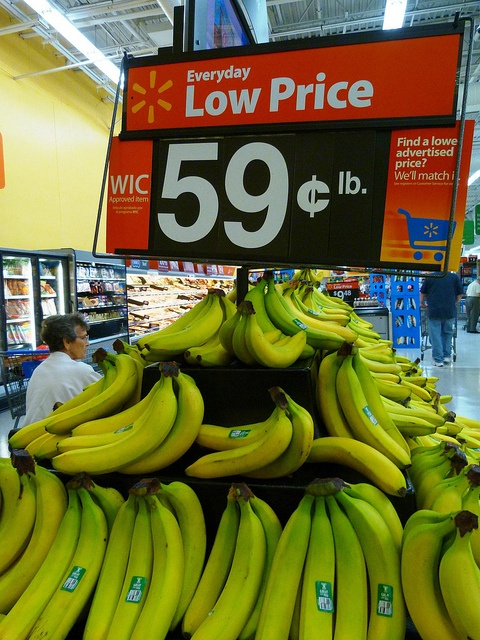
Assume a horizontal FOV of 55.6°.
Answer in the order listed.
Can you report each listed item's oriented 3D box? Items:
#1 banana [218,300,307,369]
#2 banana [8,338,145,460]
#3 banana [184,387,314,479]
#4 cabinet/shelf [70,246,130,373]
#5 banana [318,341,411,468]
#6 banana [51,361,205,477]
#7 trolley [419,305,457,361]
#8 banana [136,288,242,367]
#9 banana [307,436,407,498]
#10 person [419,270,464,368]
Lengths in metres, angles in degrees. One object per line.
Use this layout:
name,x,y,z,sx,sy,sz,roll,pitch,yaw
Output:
banana,0.080,0.046,1.250,0.137,0.183,0.239,17,2,32
banana,-0.454,0.219,1.323,0.183,0.179,0.351,-15,8,25
banana,-0.011,0.271,1.067,0.276,0.194,0.172,-9,7,30
cabinet/shelf,-2.171,-0.206,7.640,1.086,2.105,0.507,1,12,22
banana,0.329,0.231,1.223,0.076,0.271,0.163,-17,-26,-6
banana,-0.282,0.266,1.097,0.328,0.228,0.124,-23,-22,-5
trolley,3.979,0.391,9.152,0.454,0.899,0.590,-2,-18,32
banana,-0.143,0.014,1.450,0.163,0.152,0.361,-3,23,37
banana,0.274,0.315,1.044,0.227,0.061,0.080,28,29,28
person,3.075,-0.008,6.903,0.515,1.380,0.597,1,4,18
